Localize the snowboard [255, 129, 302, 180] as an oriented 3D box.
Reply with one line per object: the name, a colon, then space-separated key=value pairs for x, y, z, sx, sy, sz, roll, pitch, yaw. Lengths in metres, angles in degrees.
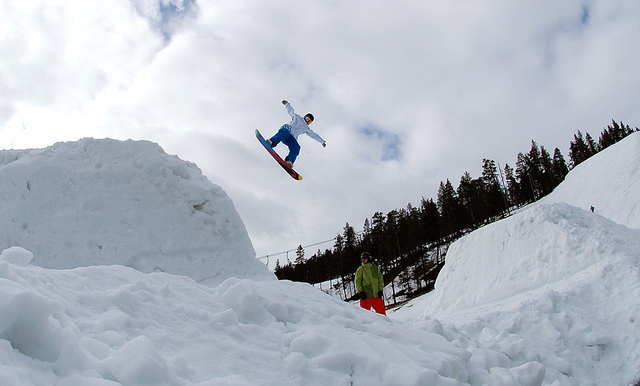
snowboard: x=-1.416 y=-1.694 z=17.998 sx=0.248 sy=0.339 sz=3.037 roll=-35 pitch=-80 yaw=21
